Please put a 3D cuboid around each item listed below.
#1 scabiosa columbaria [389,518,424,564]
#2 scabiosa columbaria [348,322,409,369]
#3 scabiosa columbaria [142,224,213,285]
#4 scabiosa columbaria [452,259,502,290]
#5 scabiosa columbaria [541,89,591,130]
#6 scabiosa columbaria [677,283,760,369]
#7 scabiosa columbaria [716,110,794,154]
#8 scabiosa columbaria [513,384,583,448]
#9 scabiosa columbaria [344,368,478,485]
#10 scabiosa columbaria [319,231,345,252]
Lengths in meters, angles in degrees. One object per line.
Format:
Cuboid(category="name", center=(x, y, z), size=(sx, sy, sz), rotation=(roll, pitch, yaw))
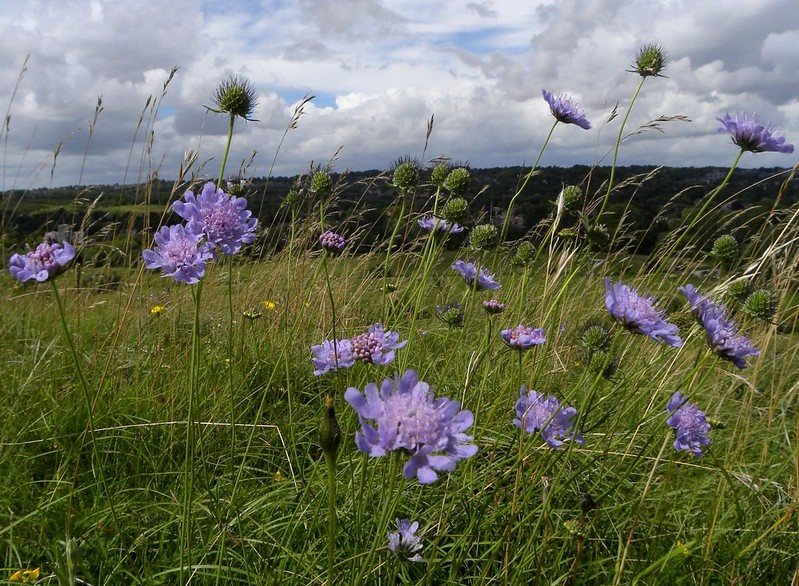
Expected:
Cuboid(category="scabiosa columbaria", center=(0.056, 1.413, 3.144), size=(0.226, 0.118, 0.228), rotation=(2, 20, -32))
Cuboid(category="scabiosa columbaria", center=(-0.184, 0.322, 3.182), size=(0.311, 0.127, 0.319), rotation=(-22, 32, -34))
Cuboid(category="scabiosa columbaria", center=(-1.186, -0.214, 3.027), size=(0.344, 0.260, 0.215), rotation=(10, 16, 8))
Cuboid(category="scabiosa columbaria", center=(0.540, -0.142, 3.786), size=(0.285, 0.137, 0.277), rotation=(37, -16, -19))
Cuboid(category="scabiosa columbaria", center=(1.187, -1.349, 4.110), size=(0.337, 0.183, 0.348), rotation=(-13, 47, -29))
Cuboid(category="scabiosa columbaria", center=(1.862, 0.202, 3.304), size=(0.446, 0.441, 0.377), rotation=(12, 17, 16))
Cuboid(category="scabiosa columbaria", center=(2.425, -1.045, 3.712), size=(0.511, 0.238, 0.201), rotation=(6, 16, -6))
Cuboid(category="scabiosa columbaria", center=(0.897, 0.766, 3.408), size=(0.362, 0.233, 0.398), rotation=(-7, 42, -44))
Cuboid(category="scabiosa columbaria", center=(0.053, 0.597, 2.713), size=(0.419, 0.218, 0.455), rotation=(-19, -17, 27))
Cuboid(category="scabiosa columbaria", center=(-0.479, -0.374, 3.741), size=(0.129, 0.110, 0.157), rotation=(7, 26, -46))
